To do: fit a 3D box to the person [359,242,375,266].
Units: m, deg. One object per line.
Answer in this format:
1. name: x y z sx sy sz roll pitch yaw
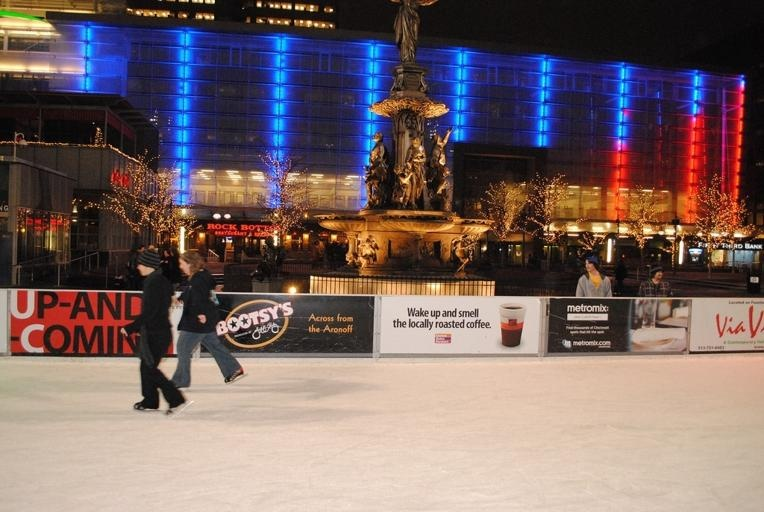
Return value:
1. person: -0.774 -0.193 57.182 1.058 1.574 0.534 1 0 -4
